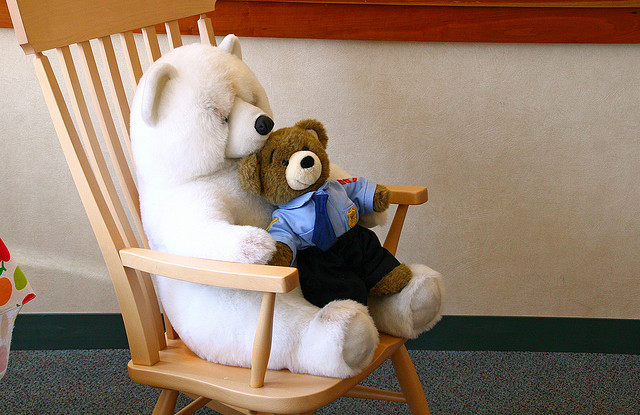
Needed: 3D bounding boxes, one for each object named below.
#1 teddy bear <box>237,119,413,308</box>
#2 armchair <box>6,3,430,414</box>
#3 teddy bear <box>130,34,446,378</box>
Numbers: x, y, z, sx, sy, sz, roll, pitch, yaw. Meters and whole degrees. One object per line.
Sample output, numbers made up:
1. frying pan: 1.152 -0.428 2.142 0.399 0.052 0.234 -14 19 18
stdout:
1. teddy bear: 0.017 0.031 1.604 0.464 0.552 0.470 -22 21 -10
2. armchair: -0.176 -0.127 2.287 1.347 1.975 1.178 4 13 29
3. teddy bear: -0.159 0.002 1.684 0.938 1.000 0.721 6 21 30
